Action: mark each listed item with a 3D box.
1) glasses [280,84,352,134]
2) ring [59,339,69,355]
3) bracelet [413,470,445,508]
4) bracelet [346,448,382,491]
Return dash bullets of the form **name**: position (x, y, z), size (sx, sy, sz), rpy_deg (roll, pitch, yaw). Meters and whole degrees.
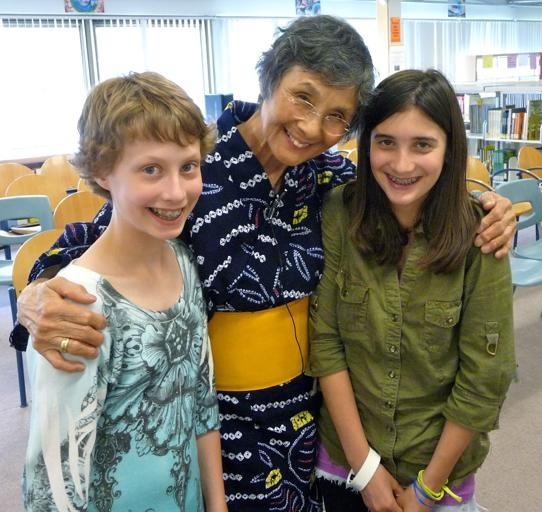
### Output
- **glasses**: position (0.102, -0.301, 1.032), size (0.193, 0.059, 0.044), rpy_deg (23, 23, -18)
- **ring**: position (-0.313, 0.141, 0.747), size (0.016, 0.019, 0.018), rpy_deg (3, -28, 4)
- **bracelet**: position (0.366, 0.546, 1.131), size (0.034, 0.080, 0.069), rpy_deg (0, 16, 43)
- **bracelet**: position (0.230, 0.519, 1.178), size (0.084, 0.054, 0.075), rpy_deg (-51, 8, -29)
